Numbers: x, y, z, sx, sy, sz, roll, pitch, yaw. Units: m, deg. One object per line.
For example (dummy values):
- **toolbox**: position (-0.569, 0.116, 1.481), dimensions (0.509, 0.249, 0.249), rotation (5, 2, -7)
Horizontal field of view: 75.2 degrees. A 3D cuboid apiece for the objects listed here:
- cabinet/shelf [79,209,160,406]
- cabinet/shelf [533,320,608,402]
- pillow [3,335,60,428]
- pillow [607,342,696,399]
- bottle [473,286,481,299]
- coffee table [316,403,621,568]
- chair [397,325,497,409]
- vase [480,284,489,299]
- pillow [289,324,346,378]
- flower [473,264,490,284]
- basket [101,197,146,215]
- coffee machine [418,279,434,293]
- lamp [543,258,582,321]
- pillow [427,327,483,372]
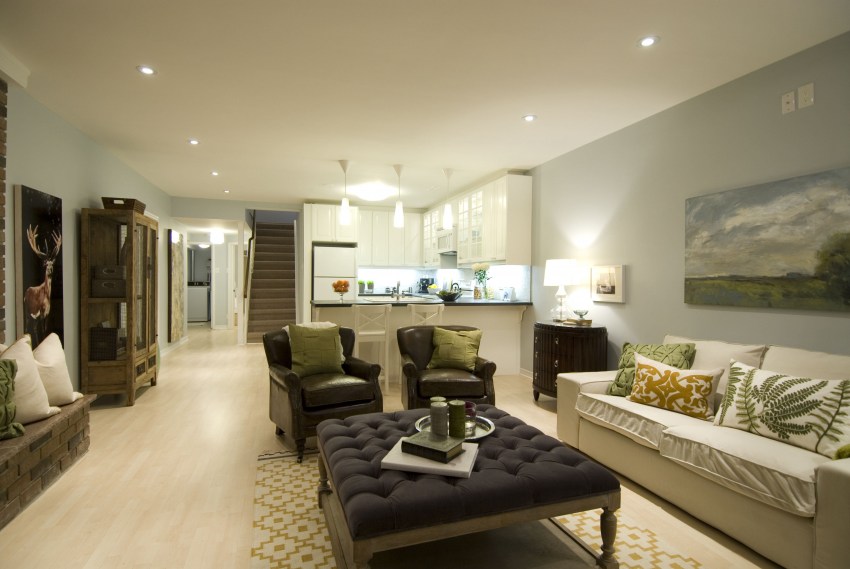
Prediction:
- **cabinet/shelf**: position (-3.720, 0.258, 6.642), dimensions (0.628, 2.320, 1.161), rotation (-2, 13, -13)
- **cabinet/shelf**: position (1.623, 0.902, 6.527), dimensions (0.836, 0.922, 0.802), rotation (1, 0, -24)
- **pillow**: position (-3.253, 0.835, 4.554), dimensions (0.272, 0.650, 0.655), rotation (-10, 10, -15)
- **pillow**: position (2.190, 0.773, 5.249), dimensions (0.790, 0.222, 0.856), rotation (-14, 5, 46)
- **bottle**: position (0.789, 0.134, 8.260), dimensions (0.140, 0.189, 0.141), rotation (0, 2, 0)
- **coffee table**: position (0.260, 1.404, 3.845), dimensions (1.282, 0.527, 1.334), rotation (-1, 0, -21)
- **chair**: position (0.220, 0.987, 6.073), dimensions (1.059, 0.975, 0.971), rotation (0, 2, -19)
- **vase**: position (0.945, 0.106, 8.374), dimensions (0.165, 0.276, 0.174), rotation (-1, 0, 12)
- **pillow**: position (-1.111, 0.696, 5.605), dimensions (0.470, 0.453, 0.168), rotation (-3, -28, -20)
- **flower**: position (0.865, -0.146, 8.400), dimensions (0.226, 0.394, 0.600), rotation (2, 12, 6)
- **basket**: position (-3.594, -0.935, 6.550), dimensions (0.337, 0.112, 0.262), rotation (1, -3, -10)
- **coffee machine**: position (0.025, 0.041, 10.552), dimensions (0.260, 0.299, 0.261), rotation (1, 0, -14)
- **lamp**: position (1.694, 0.063, 6.746), dimensions (0.425, 0.779, 0.604), rotation (4, 12, 15)
- **pillow**: position (0.442, 0.680, 6.289), dimensions (0.744, 0.395, 0.678), rotation (1, 27, 11)
